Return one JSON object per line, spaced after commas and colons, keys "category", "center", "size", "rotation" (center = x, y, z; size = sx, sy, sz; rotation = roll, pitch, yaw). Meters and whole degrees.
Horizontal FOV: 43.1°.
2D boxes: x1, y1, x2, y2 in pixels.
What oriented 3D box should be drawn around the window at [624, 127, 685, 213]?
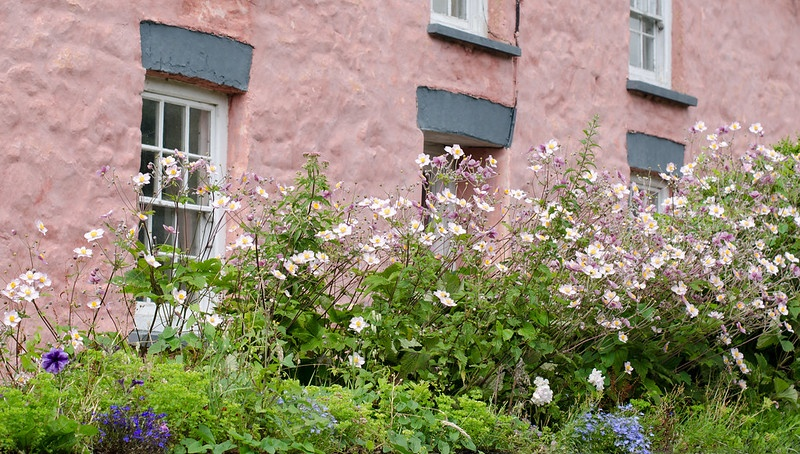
{"category": "window", "center": [2.732, -0.641, 11.027], "size": [1.104, 0.927, 0.156], "rotation": [3, -1, -30]}
